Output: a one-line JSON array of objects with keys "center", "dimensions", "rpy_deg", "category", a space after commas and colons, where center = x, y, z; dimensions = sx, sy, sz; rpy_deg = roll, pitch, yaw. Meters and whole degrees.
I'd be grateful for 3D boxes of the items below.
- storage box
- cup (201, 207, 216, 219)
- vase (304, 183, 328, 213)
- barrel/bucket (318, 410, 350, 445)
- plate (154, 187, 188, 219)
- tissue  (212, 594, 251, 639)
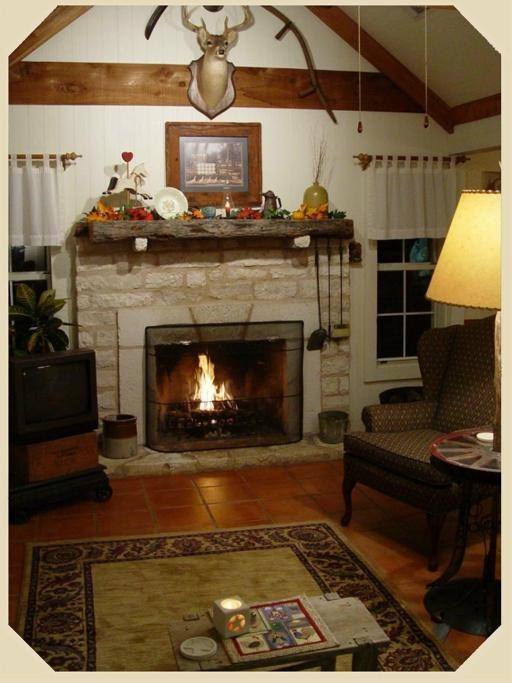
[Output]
[{"center": [-1.290, 0.755, 3.420], "dimensions": [0.418, 0.203, 0.279], "rpy_deg": [-7, 11, -39], "category": "storage box"}, {"center": [-0.388, -1.026, 4.349], "dimensions": [0.102, 0.080, 0.101], "rpy_deg": [0, 8, 0], "category": "cup"}, {"center": [0.499, -1.204, 4.568], "dimensions": [0.204, 0.257, 0.244], "rpy_deg": [0, 3, 5], "category": "vase"}, {"center": [0.637, 0.745, 4.656], "dimensions": [0.309, 0.229, 0.248], "rpy_deg": [1, 4, -3], "category": "barrel/bucket"}, {"center": [-0.687, -1.091, 4.307], "dimensions": [0.267, 0.276, 0.205], "rpy_deg": [-1, 3, -10], "category": "plate"}, {"center": [-0.062, 0.694, 1.392], "dimensions": [0.082, 0.079, 0.081], "rpy_deg": [-8, 15, -29], "category": "tissue "}]
